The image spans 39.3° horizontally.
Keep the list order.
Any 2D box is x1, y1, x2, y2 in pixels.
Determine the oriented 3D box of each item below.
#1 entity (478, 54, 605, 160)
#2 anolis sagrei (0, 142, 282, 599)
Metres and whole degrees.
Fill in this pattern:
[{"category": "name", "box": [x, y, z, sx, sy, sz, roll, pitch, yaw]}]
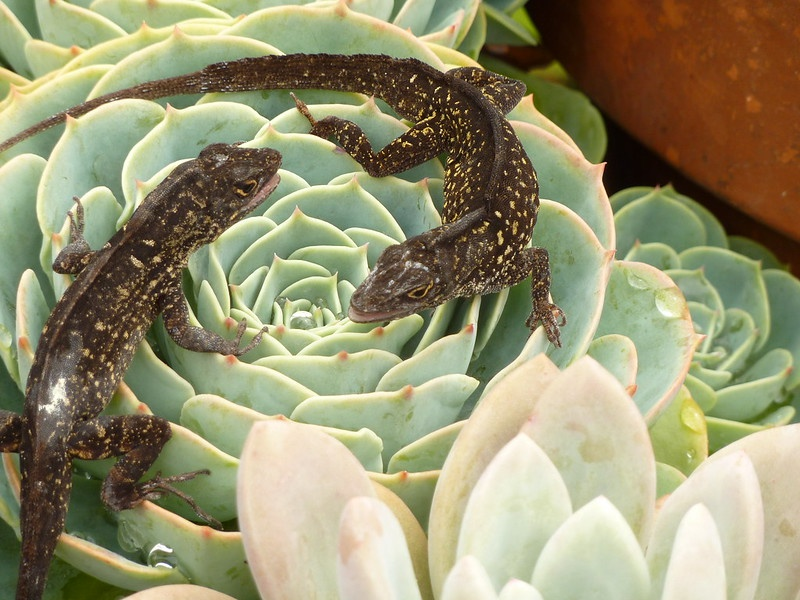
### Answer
[{"category": "entity", "box": [0.257, -0.334, 2.006, 0.100, 0.076, 0.318, -31, 51, -4]}, {"category": "anolis sagrei", "box": [-0.354, 0.099, 1.531, 0.310, 0.579, 0.153, 32, -20, 6]}]
